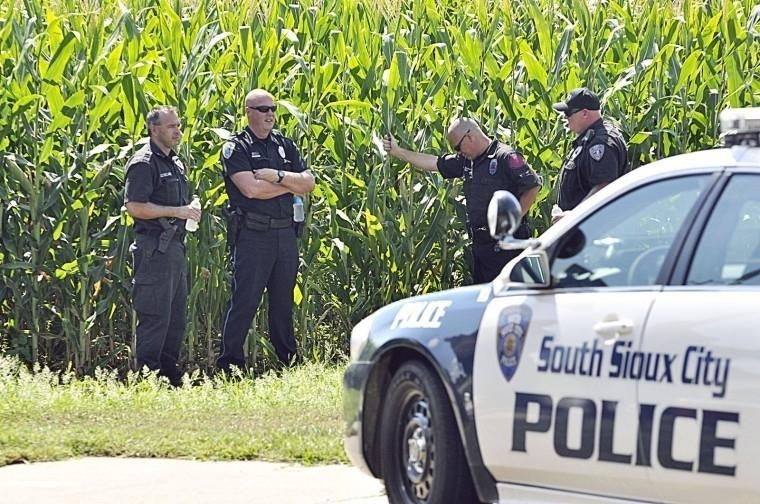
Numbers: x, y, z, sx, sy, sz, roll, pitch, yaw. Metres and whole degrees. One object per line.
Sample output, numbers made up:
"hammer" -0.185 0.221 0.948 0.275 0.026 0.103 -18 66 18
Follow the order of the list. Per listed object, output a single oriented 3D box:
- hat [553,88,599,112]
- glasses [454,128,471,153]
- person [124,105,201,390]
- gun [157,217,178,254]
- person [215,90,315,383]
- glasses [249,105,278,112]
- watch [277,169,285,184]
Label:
"hat" 1.785 -1.373 8.207 0.330 0.149 0.217 -1 5 1
"glasses" 0.766 -1.042 8.414 0.051 0.177 0.168 29 -1 8
"person" -2.047 -0.011 8.534 0.655 2.677 0.504 -2 8 -17
"gun" -2.003 -0.161 8.446 0.181 0.287 0.140 34 2 -18
"person" -1.111 -0.056 8.635 0.905 2.408 0.419 -1 8 -12
"glasses" -1.088 -1.325 8.418 0.235 0.070 0.087 -3 8 -20
"watch" -0.924 -0.694 8.450 0.073 0.113 0.104 13 -43 -2
